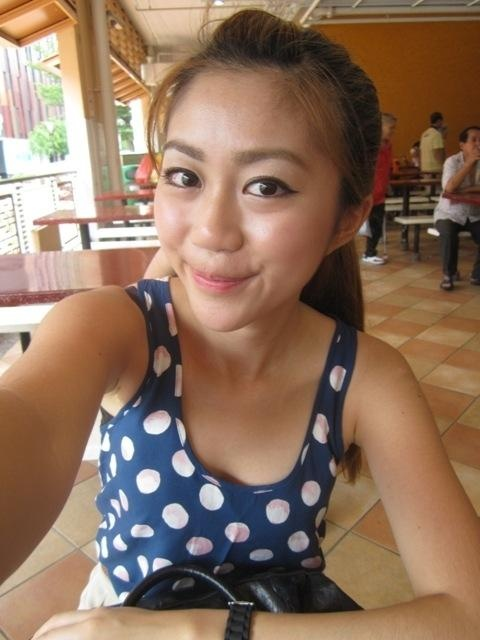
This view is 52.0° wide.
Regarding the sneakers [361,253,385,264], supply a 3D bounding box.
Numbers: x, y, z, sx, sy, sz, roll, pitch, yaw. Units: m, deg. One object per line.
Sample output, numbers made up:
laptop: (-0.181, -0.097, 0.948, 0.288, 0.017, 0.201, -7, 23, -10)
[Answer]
sneakers: (1.715, -0.802, 6.360, 0.119, 0.130, 0.322, -9, 15, -33)
